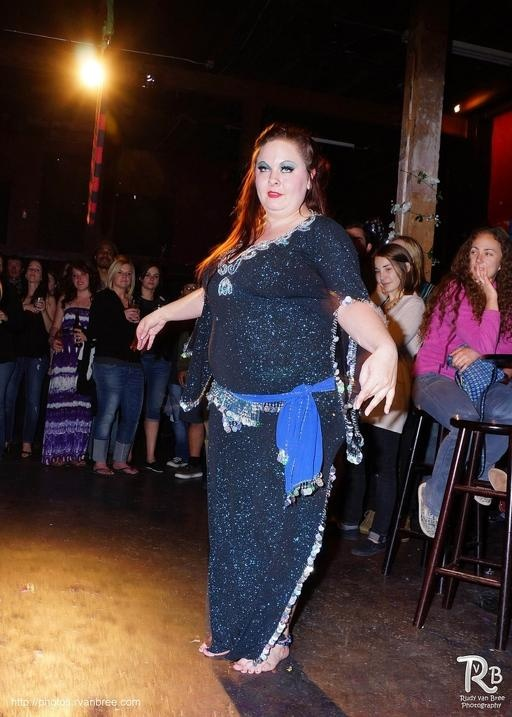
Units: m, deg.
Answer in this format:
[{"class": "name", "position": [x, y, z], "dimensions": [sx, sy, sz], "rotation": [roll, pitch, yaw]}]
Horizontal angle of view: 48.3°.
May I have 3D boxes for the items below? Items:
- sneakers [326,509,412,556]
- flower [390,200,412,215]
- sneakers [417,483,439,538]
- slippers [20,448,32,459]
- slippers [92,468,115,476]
[{"class": "sneakers", "position": [0.650, 1.022, 3.386], "dimensions": [0.217, 0.241, 0.628], "rotation": [-8, -20, -3]}, {"class": "flower", "position": [1.071, -1.076, 4.124], "dimensions": [0.044, 0.100, 0.099], "rotation": [24, -14, -37]}, {"class": "sneakers", "position": [0.719, 0.634, 2.402], "dimensions": [0.079, 0.230, 0.093], "rotation": [2, -7, 6]}, {"class": "slippers", "position": [-2.071, 0.852, 5.131], "dimensions": [0.058, 0.046, 0.098], "rotation": [26, -19, -6]}, {"class": "slippers", "position": [-1.237, 0.916, 4.650], "dimensions": [0.158, 0.036, 0.255], "rotation": [7, -5, -20]}]
